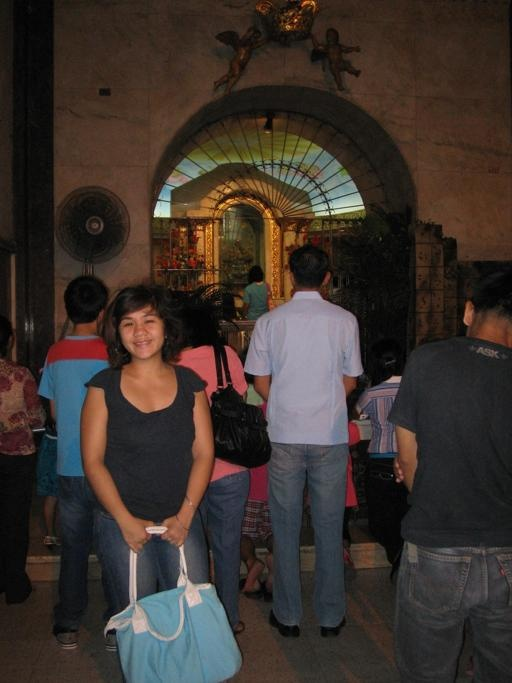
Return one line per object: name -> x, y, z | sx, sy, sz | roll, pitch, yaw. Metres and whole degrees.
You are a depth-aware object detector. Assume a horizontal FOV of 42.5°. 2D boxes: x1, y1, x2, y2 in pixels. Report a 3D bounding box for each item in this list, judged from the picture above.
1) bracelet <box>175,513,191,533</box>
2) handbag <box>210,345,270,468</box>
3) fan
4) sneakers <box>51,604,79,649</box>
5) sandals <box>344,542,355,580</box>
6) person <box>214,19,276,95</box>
bracelet -> -0.260, 0.643, 2.350 | 0.050, 0.061, 0.054 | -1, 13, -10
handbag -> -0.076, 0.301, 3.020 | 0.188, 0.516, 0.419 | -17, -33, 15
fan -> -1.663, -1.134, 6.630 | 0.618, 0.841, 0.350 | 0, 9, -14
sneakers -> -0.939, 1.417, 3.248 | 0.077, 0.084, 0.223 | -1, 1, -16
sandals -> 0.573, 1.357, 4.092 | 0.068, 0.216, 0.088 | -5, 5, 4
person -> -0.154, -2.999, 6.948 | 0.561, 0.751, 0.248 | 1, 6, -5
